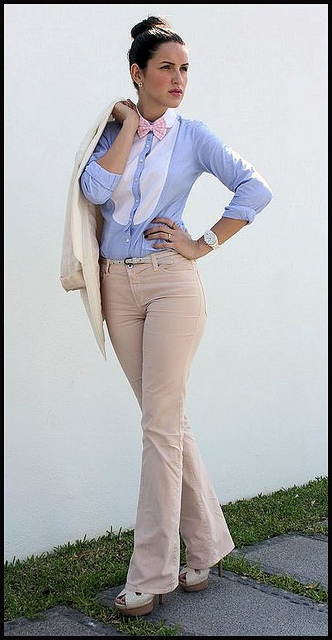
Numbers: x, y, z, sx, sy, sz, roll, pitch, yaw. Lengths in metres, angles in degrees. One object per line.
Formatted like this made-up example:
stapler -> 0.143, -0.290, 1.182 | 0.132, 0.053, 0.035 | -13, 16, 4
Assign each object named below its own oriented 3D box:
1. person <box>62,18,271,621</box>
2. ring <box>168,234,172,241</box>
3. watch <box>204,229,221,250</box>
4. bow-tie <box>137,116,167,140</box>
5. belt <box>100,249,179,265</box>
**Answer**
person -> 0.016, 0.002, 2.151 | 0.720, 2.012, 0.761 | -1, -3, 11
ring -> 0.011, -0.285, 1.918 | 0.006, 0.021, 0.015 | 3, 2, -37
watch -> 0.157, -0.281, 2.011 | 0.038, 0.063, 0.062 | -35, 5, 2
bow-tie -> -0.048, -0.654, 1.919 | 0.086, 0.078, 0.011 | 1, 4, 9
belt -> -0.108, -0.217, 1.960 | 0.283, 0.055, 0.077 | -1, -4, 15
